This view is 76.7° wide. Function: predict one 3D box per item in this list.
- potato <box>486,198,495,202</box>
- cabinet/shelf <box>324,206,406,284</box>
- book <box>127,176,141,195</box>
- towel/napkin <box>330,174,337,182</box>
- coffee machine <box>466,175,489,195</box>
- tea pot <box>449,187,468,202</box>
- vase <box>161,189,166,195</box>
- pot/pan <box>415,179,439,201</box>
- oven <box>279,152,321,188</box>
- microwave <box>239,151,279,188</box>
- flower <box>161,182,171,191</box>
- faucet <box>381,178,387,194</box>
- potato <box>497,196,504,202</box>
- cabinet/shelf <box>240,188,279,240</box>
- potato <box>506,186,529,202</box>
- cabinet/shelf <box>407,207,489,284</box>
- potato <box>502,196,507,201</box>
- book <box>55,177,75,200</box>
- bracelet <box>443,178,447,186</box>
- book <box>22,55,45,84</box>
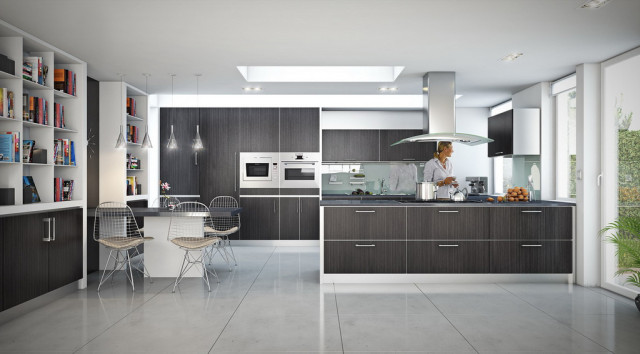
[{"bbox_3d":[3.294,0.431,7.771,0.211,0.095,0.194,1,-1,16],"label":"potato"},{"bbox_3d":[0.794,1.133,7.768,2.225,1.340,1.144,0,-7,0],"label":"cabinet/shelf"},{"bbox_3d":[-4.078,0.175,8.871,0.376,0.399,0.458,-1,0,3],"label":"book"},{"bbox_3d":[0.352,0.013,10.619,0.219,0.178,0.103,1,1,10],"label":"towel/napkin"},{"bbox_3d":[4.074,0.198,10.337,0.494,0.471,0.553,1,-4,3],"label":"coffee machine"},{"bbox_3d":[2.824,0.350,8.266,0.510,0.296,0.354,0,-3,2],"label":"tea pot"},{"bbox_3d":[-3.821,0.357,9.909,0.156,0.118,0.077,0,4,3],"label":"vase"},{"bbox_3d":[1.971,0.239,7.578,0.429,0.334,0.347,0,-5,0],"label":"pot/pan"},{"bbox_3d":[-0.669,-0.169,10.266,1.144,0.884,0.692,0,0,-34],"label":"oven"},{"bbox_3d":[-1.543,-0.169,10.002,1.083,0.758,0.455,0,-3,-3],"label":"microwave"},{"bbox_3d":[-3.587,0.211,9.457,0.260,0.172,0.058,0,2,12],"label":"flower"},{"bbox_3d":[1.677,0.227,10.664,0.180,0.378,0.200,12,18,41],"label":"faucet"},{"bbox_3d":[3.424,0.416,7.670,0.102,0.084,0.115,-4,-2,7],"label":"potato"},{"bbox_3d":[-1.507,0.956,9.963,1.514,1.369,0.620,0,-4,-3],"label":"cabinet/shelf"},{"bbox_3d":[3.774,0.339,7.710,0.486,0.251,0.284,-1,13,-2],"label":"potato"},{"bbox_3d":[2.170,1.186,7.793,2.304,1.558,1.136,0,-6,0],"label":"cabinet/shelf"},{"bbox_3d":[3.548,0.407,7.777,0.079,0.061,0.071,-1,-2,-4],"label":"potato"},{"bbox_3d":[-4.459,0.208,7.129,0.357,0.376,0.434,-1,-3,2],"label":"book"},{"bbox_3d":[2.397,0.100,7.704,0.086,0.101,0.118,3,13,14],"label":"bracelet"},{"bbox_3d":[-4.727,-1.770,6.704,0.360,0.448,0.286,-10,17,-36],"label":"book"}]
